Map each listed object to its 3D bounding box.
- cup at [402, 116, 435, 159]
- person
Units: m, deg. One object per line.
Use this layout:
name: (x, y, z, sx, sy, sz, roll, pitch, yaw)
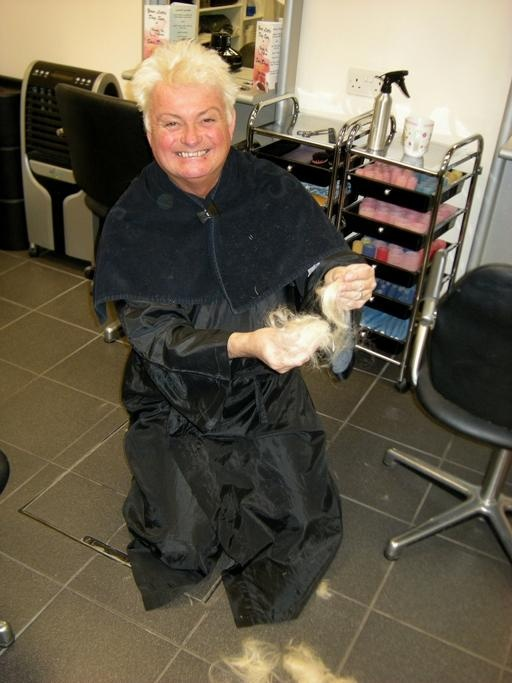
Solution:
cup: (0.552, -0.695, 1.964, 0.102, 0.128, 0.151, 8, 40, 10)
person: (-0.067, 0.015, 1.336, 0.678, 1.245, 0.600, 18, 31, 20)
